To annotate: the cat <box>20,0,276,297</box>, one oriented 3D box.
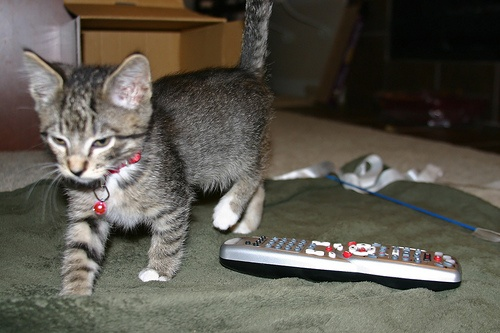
[{"bbox_3d":[-0.291,-0.153,1.645,0.546,0.912,0.957,20,24,35],"label":"cat"}]
